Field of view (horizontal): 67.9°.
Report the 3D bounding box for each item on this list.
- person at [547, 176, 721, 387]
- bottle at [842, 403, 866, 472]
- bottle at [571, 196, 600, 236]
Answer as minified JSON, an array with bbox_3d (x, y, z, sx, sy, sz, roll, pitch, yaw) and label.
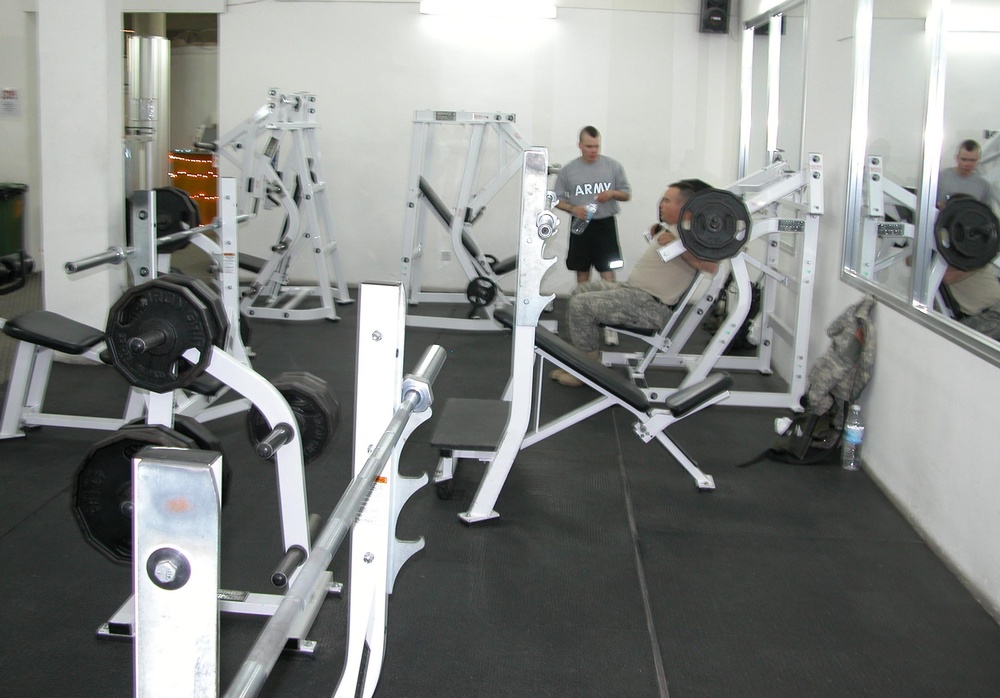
[{"bbox_3d":[0.843,-0.402,4.834,0.844,1.337,1.697,-6,17,-23],"label":"person"},{"bbox_3d":[1.875,0.448,3.941,0.101,0.317,0.273,8,17,26],"label":"bottle"},{"bbox_3d":[0.694,-1.086,6.097,0.151,0.306,0.109,23,18,5],"label":"bottle"}]
